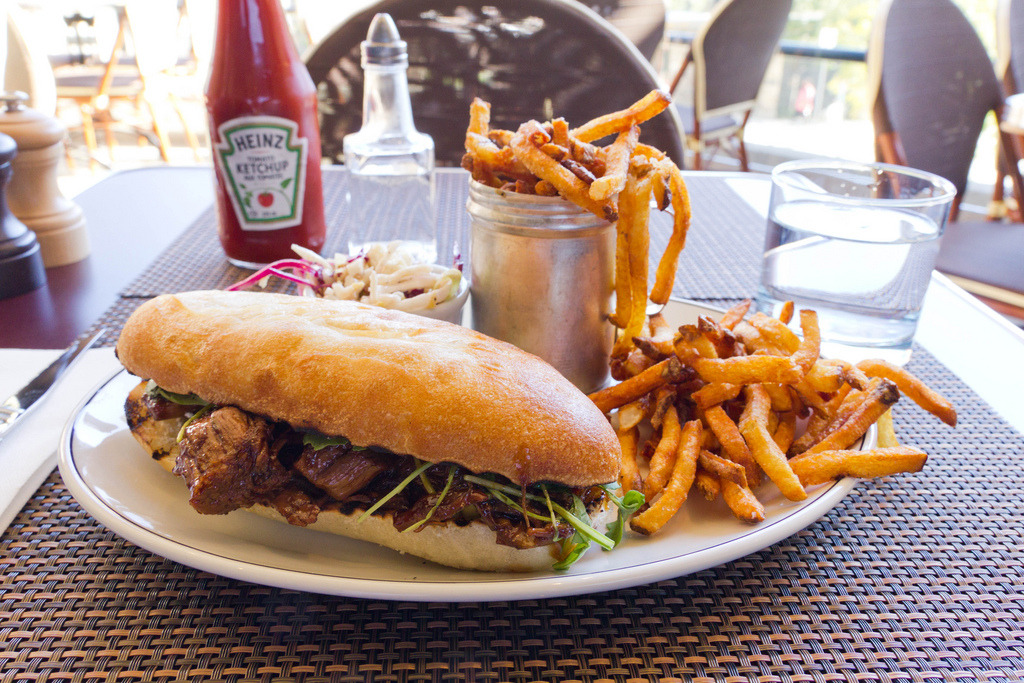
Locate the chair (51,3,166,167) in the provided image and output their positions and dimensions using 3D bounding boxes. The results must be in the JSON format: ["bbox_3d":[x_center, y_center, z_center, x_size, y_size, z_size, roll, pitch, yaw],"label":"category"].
[{"bbox_3d":[-3.054,-1.939,5.907,0.470,1.146,0.752,16,28,27],"label":"chair"}]

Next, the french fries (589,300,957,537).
[{"bbox_3d":[0.614,0.068,1.728,0.456,0.143,0.609,-3,29,20],"label":"french fries"}]

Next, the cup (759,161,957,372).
[{"bbox_3d":[0.923,-0.195,2.110,0.534,0.436,0.531,2,18,-1],"label":"cup"}]
